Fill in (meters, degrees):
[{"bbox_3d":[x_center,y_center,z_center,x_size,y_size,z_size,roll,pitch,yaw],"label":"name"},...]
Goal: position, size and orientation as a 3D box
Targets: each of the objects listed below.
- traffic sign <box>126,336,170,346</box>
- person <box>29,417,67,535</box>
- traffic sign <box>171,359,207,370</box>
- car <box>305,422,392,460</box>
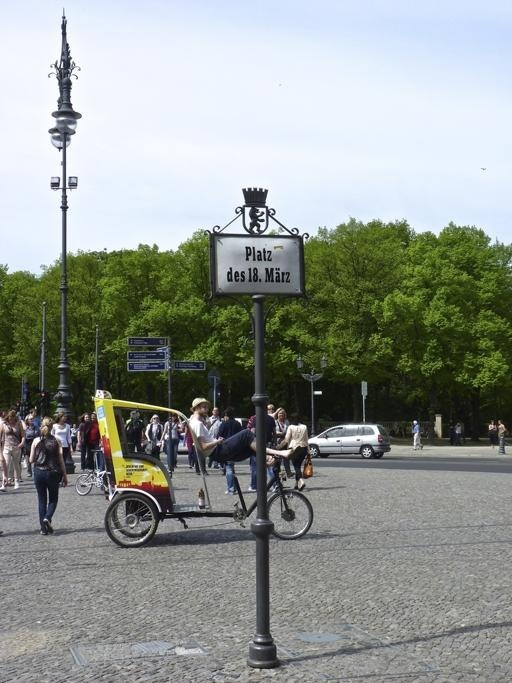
[{"bbox_3d":[-2.485,0.011,24.741,0.831,0.213,1.065,0,-1,-31],"label":"traffic sign"},{"bbox_3d":[-2.602,1.666,13.105,0.428,1.359,1.664,-1,-1,-12],"label":"person"},{"bbox_3d":[-1.733,0.590,26.373,0.444,0.254,1.917,-1,-1,11],"label":"traffic sign"},{"bbox_3d":[3.126,3.356,34.844,2.706,1.160,0.800,-1,-1,34],"label":"car"}]
